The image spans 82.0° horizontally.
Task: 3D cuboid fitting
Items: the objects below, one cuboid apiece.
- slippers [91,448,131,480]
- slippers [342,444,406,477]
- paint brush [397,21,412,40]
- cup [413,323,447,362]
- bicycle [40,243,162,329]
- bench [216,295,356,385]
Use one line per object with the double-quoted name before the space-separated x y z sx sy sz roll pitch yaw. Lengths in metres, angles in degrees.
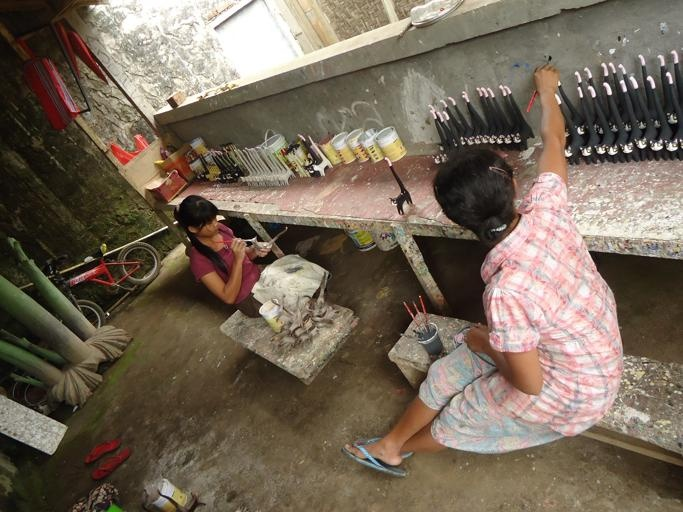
"slippers" -2.281 2.066 3.950 0.411 0.095 0.255 -33 28 -16
"slippers" 0.251 1.517 2.961 0.484 0.110 0.172 19 28 18
"paint brush" 0.514 -1.814 3.162 0.137 0.083 0.170 -16 28 17
"cup" 0.677 0.609 2.994 0.256 0.357 0.257 1 -4 0
"bicycle" -3.631 0.254 6.472 1.833 1.117 0.902 -40 16 -31
"bench" -0.539 0.729 3.997 1.045 0.219 0.826 26 54 28
